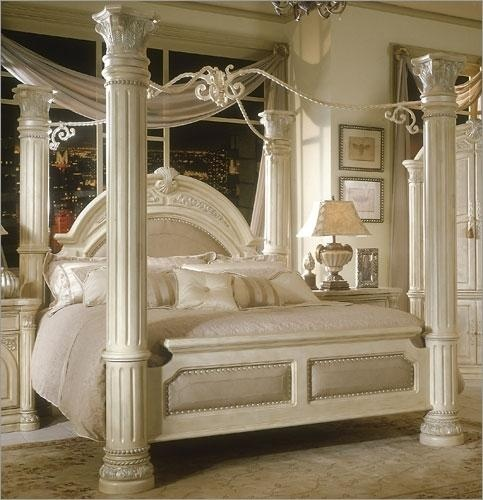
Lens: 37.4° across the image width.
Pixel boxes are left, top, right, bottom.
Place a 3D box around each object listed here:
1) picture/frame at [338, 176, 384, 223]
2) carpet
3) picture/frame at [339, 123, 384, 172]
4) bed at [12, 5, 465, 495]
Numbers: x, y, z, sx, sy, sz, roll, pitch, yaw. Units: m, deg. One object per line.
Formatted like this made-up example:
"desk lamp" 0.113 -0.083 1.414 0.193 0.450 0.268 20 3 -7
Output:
"picture/frame" 1.096 -0.462 6.603 0.665 0.470 0.041 0 -4 -30
"carpet" 0.130 1.139 3.863 2.627 0.098 1.333 -2 0 -6
"picture/frame" 1.130 -0.981 6.810 0.658 0.409 0.040 0 0 -30
"bed" -0.020 0.162 5.251 3.408 2.327 3.005 1 -4 -27
